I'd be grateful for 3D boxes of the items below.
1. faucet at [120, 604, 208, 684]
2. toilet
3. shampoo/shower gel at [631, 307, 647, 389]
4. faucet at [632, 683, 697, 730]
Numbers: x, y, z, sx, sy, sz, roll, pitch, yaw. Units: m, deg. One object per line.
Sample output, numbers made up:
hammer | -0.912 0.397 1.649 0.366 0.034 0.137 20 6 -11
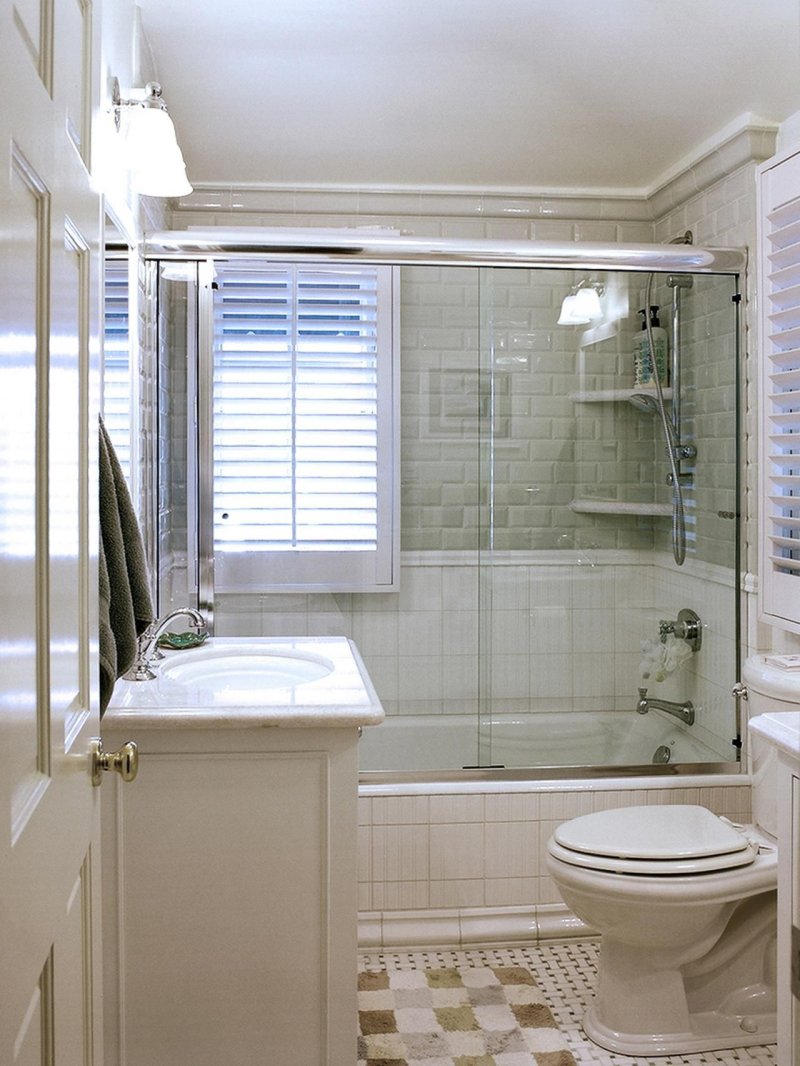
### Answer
faucet | -0.513 0.230 1.991 0.075 0.102 0.265 5 10 25
toilet | 0.570 0.768 2.273 0.775 0.968 0.521 1 -2 -3
shampoo/shower gel | 0.681 -0.509 2.568 0.056 0.202 0.036 0 3 1
faucet | 0.753 0.492 2.642 0.205 0.101 0.082 14 -7 -1
